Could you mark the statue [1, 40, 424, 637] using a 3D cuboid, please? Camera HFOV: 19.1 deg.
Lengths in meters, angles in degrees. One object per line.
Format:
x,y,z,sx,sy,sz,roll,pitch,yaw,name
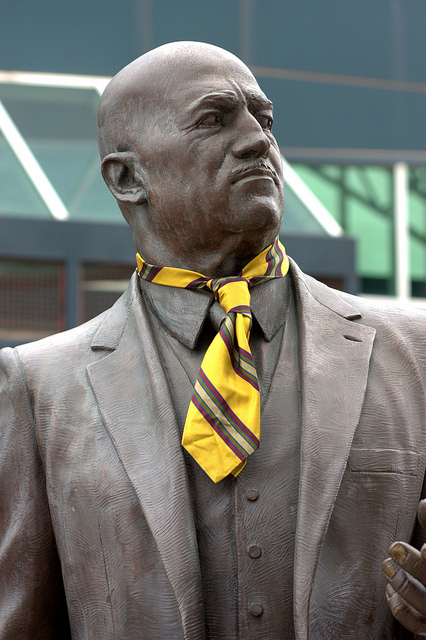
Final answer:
-0.065,0.080,4.458,1.590,2.132,0.865,-6,6,9,statue
